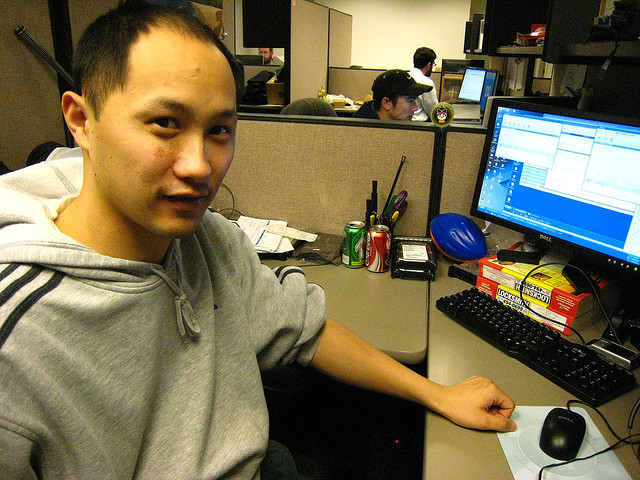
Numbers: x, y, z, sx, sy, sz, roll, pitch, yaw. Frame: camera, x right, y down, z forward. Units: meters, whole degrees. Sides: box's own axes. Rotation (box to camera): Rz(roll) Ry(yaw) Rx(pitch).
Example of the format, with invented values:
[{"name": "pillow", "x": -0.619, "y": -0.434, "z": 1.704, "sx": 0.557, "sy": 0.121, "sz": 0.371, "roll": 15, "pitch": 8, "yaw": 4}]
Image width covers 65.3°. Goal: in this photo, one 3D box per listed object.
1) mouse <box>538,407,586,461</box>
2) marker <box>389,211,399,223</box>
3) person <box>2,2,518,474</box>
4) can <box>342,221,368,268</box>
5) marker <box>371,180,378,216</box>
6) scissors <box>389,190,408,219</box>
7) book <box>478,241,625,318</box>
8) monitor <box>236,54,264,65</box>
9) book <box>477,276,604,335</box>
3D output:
[{"name": "mouse", "x": 0.497, "y": 0.379, "z": 1.008, "sx": 0.075, "sy": 0.044, "sz": 0.132, "roll": 4, "pitch": 24, "yaw": 35}, {"name": "marker", "x": 0.260, "y": -0.080, "z": 1.719, "sx": 0.010, "sy": 0.042, "sz": 0.009, "roll": 25, "pitch": 2, "yaw": -7}, {"name": "person", "x": -0.226, "y": 0.011, "z": 0.979, "sx": 0.776, "sy": 0.856, "sz": 0.526, "roll": -12, "pitch": 26, "yaw": -34}, {"name": "can", "x": 0.116, "y": 0.013, "z": 1.653, "sx": 0.083, "sy": 0.144, "sz": 0.082, "roll": 1, "pitch": 23, "yaw": 0}, {"name": "marker", "x": 0.191, "y": -0.148, "z": 1.725, "sx": 0.021, "sy": 0.104, "sz": 0.030, "roll": 3, "pitch": 22, "yaw": 1}, {"name": "scissors", "x": 0.270, "y": -0.126, "z": 1.726, "sx": 0.037, "sy": 0.095, "sz": 0.022, "roll": 15, "pitch": 20, "yaw": -29}, {"name": "book", "x": 0.662, "y": 0.080, "z": 1.374, "sx": 0.215, "sy": 0.054, "sz": 0.228, "roll": -8, "pitch": 27, "yaw": -31}, {"name": "monitor", "x": -0.737, "y": -1.885, "z": 5.208, "sx": 0.247, "sy": 0.094, "sz": 0.404, "roll": 0, "pitch": 22, "yaw": -9}, {"name": "book", "x": 0.645, "y": 0.128, "z": 1.442, "sx": 0.226, "sy": 0.069, "sz": 0.326, "roll": -12, "pitch": 21, "yaw": -32}]
